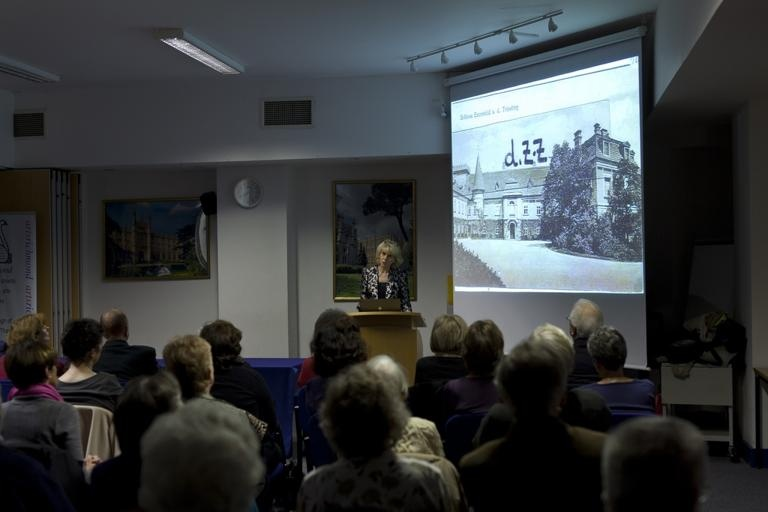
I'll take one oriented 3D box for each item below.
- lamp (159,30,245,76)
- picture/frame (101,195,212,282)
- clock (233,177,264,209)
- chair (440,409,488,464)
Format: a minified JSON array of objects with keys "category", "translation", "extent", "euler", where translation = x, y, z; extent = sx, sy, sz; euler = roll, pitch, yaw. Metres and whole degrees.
[{"category":"lamp","translation":[-1.979,-2.202,6.440],"extent":[0.226,0.094,0.889],"euler":[-1,-3,26]},{"category":"picture/frame","translation":[-3.184,-0.256,8.489],"extent":[1.216,0.881,0.047],"euler":[0,0,13]},{"category":"clock","translation":[-1.827,-0.844,7.931],"extent":[0.391,0.396,0.093],"euler":[-3,2,8]},{"category":"chair","translation":[0.470,1.071,3.499],"extent":[0.213,0.309,0.153],"euler":[2,-1,9]}]
